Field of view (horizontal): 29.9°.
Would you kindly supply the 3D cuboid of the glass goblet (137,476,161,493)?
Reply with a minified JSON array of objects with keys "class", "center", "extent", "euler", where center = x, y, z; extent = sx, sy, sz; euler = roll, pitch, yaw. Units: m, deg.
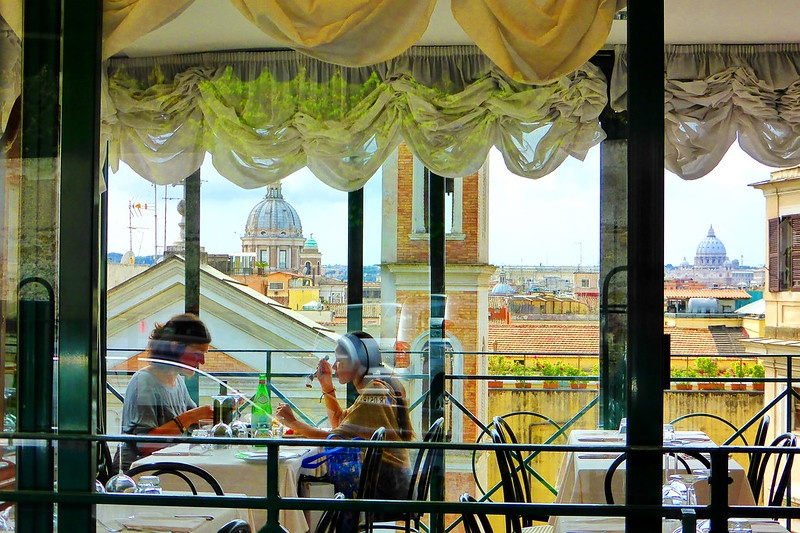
[{"class":"glass goblet","center":[-1.011,0.878,6.039],"extent":[0.066,0.062,0.067],"euler":[-3,-6,16]}]

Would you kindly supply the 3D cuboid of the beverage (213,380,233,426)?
[{"class":"beverage","center":[-0.759,0.581,6.382],"extent":[0.068,0.195,0.071],"euler":[-10,-18,30]}]

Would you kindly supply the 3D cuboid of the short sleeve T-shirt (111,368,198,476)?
[{"class":"short sleeve T-shirt","center":[-1.077,0.661,6.586],"extent":[0.366,0.543,0.483],"euler":[7,-5,1]}]

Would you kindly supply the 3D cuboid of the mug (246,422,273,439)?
[{"class":"mug","center":[-0.588,0.697,6.335],"extent":[0.070,0.077,0.074],"euler":[0,0,-10]}]

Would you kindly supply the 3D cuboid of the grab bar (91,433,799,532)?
[{"class":"grab bar","center":[0.390,0.859,5.852],"extent":[2.324,0.438,0.263],"euler":[-3,-4,1]}]

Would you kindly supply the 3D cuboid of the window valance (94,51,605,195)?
[{"class":"window valance","center":[-0.225,-0.613,6.234],"extent":[2.157,0.576,0.168],"euler":[-1,-6,8]}]

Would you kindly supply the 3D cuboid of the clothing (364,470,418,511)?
[{"class":"clothing","center":[-0.034,0.933,6.252],"extent":[0.142,0.138,0.034],"euler":[14,5,-3]}]
